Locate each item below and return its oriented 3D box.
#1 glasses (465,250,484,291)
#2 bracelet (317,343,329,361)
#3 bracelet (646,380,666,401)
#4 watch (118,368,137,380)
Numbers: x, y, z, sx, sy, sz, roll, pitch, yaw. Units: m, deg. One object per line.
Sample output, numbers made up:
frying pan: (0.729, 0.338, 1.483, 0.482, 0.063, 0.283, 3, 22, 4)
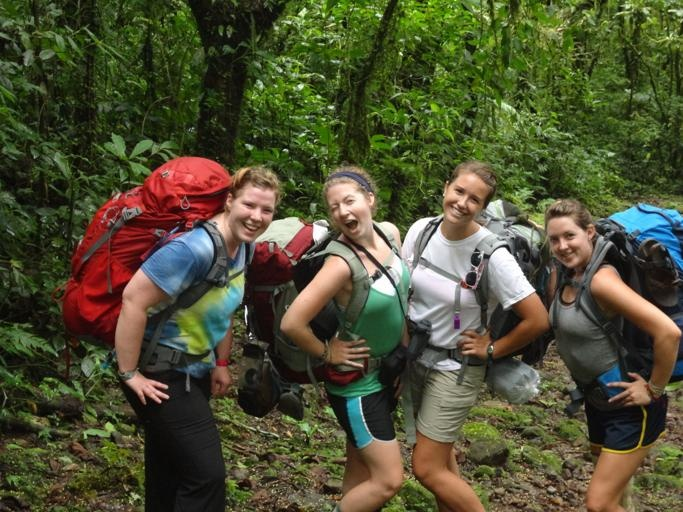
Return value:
glasses: (0.966, 0.089, 4.467, 0.125, 0.235, 0.068, 10, 5, 38)
bracelet: (-0.127, 0.676, 4.339, 0.104, 0.111, 0.046, -9, -11, 33)
bracelet: (2.198, 0.944, 4.328, 0.109, 0.106, 0.127, 12, -14, -1)
watch: (-1.332, 0.724, 3.797, 0.068, 0.045, 0.086, 1, -2, 1)
